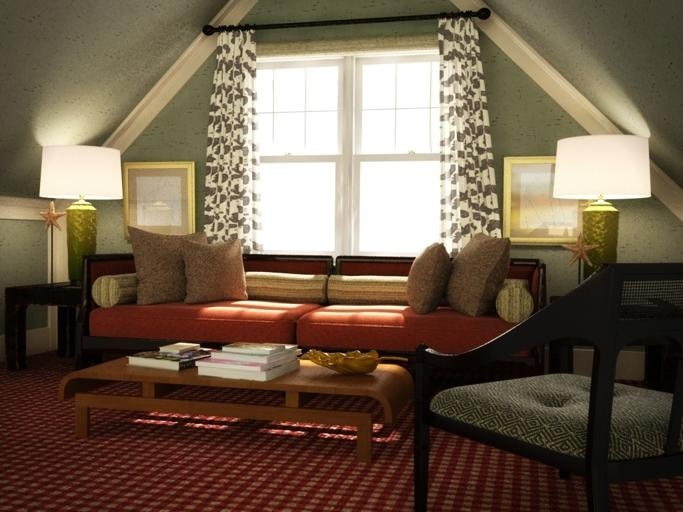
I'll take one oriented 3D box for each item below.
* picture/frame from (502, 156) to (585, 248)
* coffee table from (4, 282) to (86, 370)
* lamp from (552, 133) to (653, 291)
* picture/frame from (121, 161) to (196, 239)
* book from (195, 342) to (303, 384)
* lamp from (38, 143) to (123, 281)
[{"bbox_3d":[1.567,-0.423,4.463,0.911,0.776,0.089,0,-1,7],"label":"picture/frame"},{"bbox_3d":[-2.365,0.531,4.767,0.784,0.610,0.735,0,-1,9],"label":"coffee table"},{"bbox_3d":[1.759,-0.312,3.907,0.526,0.979,0.551,6,7,41],"label":"lamp"},{"bbox_3d":[-1.611,-0.517,5.168,0.875,0.718,0.056,1,7,11],"label":"picture/frame"},{"bbox_3d":[-0.503,0.542,3.027,0.276,0.088,0.277,2,5,24],"label":"book"},{"bbox_3d":[-2.060,-0.320,4.528,0.570,1.089,0.791,0,5,-8],"label":"lamp"}]
